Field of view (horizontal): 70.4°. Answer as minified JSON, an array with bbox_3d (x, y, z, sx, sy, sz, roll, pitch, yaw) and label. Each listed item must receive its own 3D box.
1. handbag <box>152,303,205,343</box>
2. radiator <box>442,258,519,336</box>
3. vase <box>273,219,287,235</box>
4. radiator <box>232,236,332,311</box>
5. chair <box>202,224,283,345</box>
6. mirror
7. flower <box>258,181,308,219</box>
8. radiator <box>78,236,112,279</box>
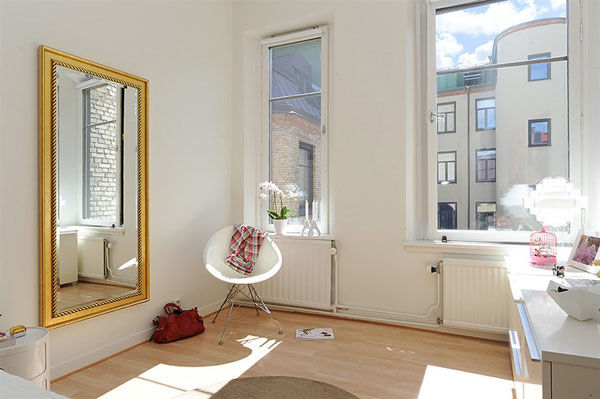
[{"bbox_3d":[-1.221,1.201,4.165,0.493,0.292,0.315,-6,15,-24],"label":"handbag"},{"bbox_3d":[1.712,0.906,3.961,0.737,0.771,0.077,1,0,25],"label":"radiator"},{"bbox_3d":[-0.216,0.314,4.755,0.151,0.136,0.151,-1,-3,23],"label":"vase"},{"bbox_3d":[-0.034,0.808,4.728,0.911,0.789,0.077,0,-22,32],"label":"radiator"},{"bbox_3d":[-0.568,0.876,4.398,0.789,0.955,0.769,13,-43,-28],"label":"chair"},{"bbox_3d":[-1.796,-0.127,3.684,0.354,2.296,1.199,11,17,40],"label":"mirror"},{"bbox_3d":[-0.206,0.073,4.853,0.488,0.495,0.276,-2,-7,-14],"label":"flower"},{"bbox_3d":[-1.851,0.501,3.737,0.337,0.348,0.115,4,5,10],"label":"radiator"}]
